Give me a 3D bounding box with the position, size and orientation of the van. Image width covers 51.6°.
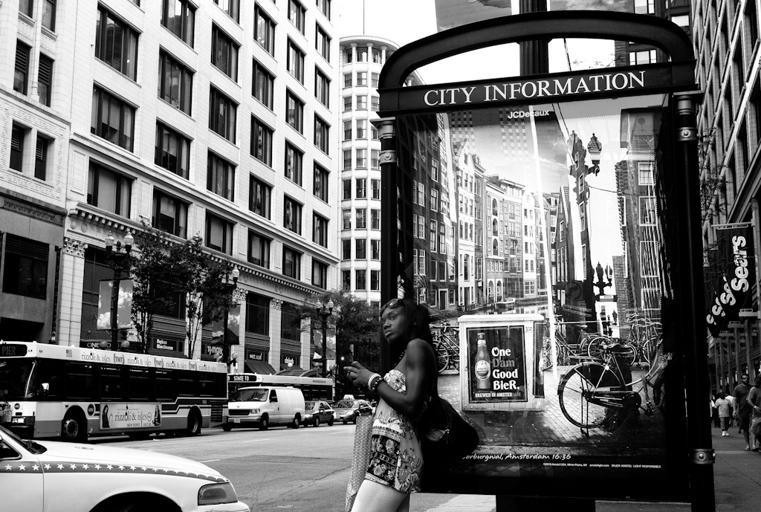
[{"bbox_3d":[-6.012,8.082,41.769,1.994,1.446,3.568,-7,-16,25],"label":"van"}]

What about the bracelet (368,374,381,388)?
[{"bbox_3d":[-0.050,1.119,7.052,0.144,0.133,0.072,-12,-12,14],"label":"bracelet"}]
